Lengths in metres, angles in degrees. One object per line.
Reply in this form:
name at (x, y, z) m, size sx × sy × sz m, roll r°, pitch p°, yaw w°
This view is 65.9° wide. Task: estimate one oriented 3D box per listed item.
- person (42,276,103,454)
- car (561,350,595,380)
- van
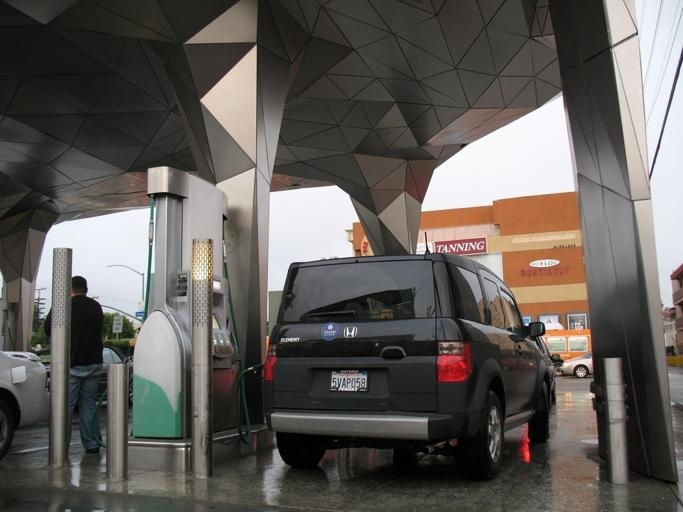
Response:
person at (-4.090, 1.638, 8.088) m, size 0.736 × 2.652 × 0.691 m, roll 6°, pitch -15°, yaw -40°
car at (13.156, 6.122, 29.655) m, size 1.650 × 1.335 × 2.478 m, roll -6°, pitch -9°, yaw 22°
van at (1.188, 1.218, 6.780) m, size 1.942 × 1.773 × 3.671 m, roll -4°, pitch -6°, yaw 28°
